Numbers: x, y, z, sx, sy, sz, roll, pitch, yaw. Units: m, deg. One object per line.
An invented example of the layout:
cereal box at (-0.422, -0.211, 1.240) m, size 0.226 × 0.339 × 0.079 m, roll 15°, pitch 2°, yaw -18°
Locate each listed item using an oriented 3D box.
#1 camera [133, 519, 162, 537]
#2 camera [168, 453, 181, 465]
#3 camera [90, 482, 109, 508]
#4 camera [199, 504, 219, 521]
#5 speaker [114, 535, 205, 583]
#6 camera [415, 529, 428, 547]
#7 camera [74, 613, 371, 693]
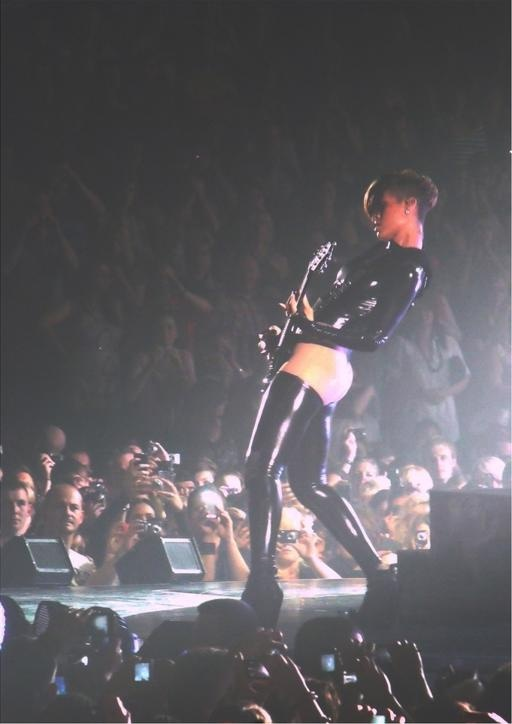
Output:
camera at (-0.398, 0.627, 3.162) m, size 0.097 × 0.047 × 0.085 m, roll 8°, pitch -21°, yaw -14°
camera at (-0.303, 0.365, 3.170) m, size 0.044 × 0.037 × 0.039 m, roll 2°, pitch 1°, yaw 1°
camera at (-0.590, 0.502, 3.171) m, size 0.074 × 0.084 × 0.032 m, roll 1°, pitch 2°, yaw 6°
camera at (-0.171, 0.563, 3.157) m, size 0.053 × 0.061 × 0.016 m, roll -1°, pitch -5°, yaw 11°
speaker at (-0.353, 0.740, 3.141) m, size 0.257 × 0.143 × 0.189 m, roll -9°, pitch -18°, yaw 23°
camera at (0.632, 0.660, 3.150) m, size 0.053 × 0.061 × 0.064 m, roll 4°, pitch -30°, yaw 11°
camera at (-0.069, 0.956, 2.737) m, size 0.798 × 0.337 × 0.383 m, roll 3°, pitch -27°, yaw 6°
